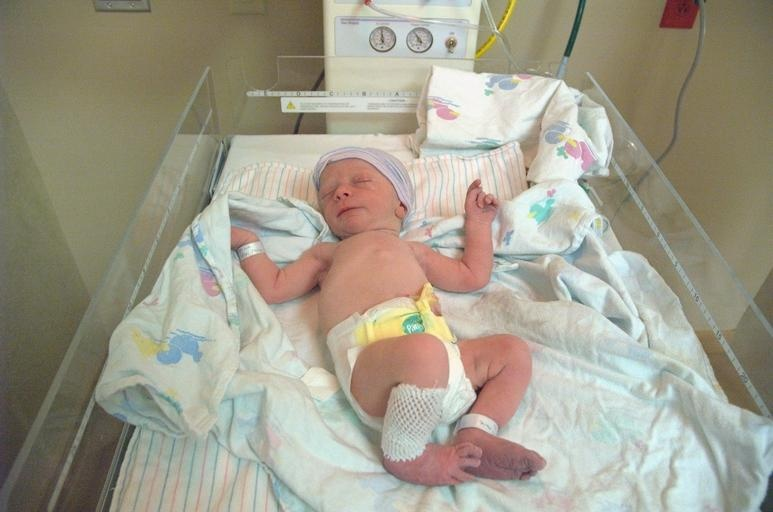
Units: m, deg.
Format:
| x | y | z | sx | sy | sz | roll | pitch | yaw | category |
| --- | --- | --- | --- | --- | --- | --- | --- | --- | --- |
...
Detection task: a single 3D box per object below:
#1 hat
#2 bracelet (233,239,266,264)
| x | y | z | sx | sy | sz | roll | pitch | yaw | category |
| --- | --- | --- | --- | --- | --- | --- | --- | --- | --- |
| -0.035 | -0.298 | 2.128 | 0.286 | 0.177 | 0.332 | 7 | 14 | 6 | hat |
| -0.469 | -0.021 | 1.933 | 0.139 | 0.139 | 0.058 | -10 | 81 | 10 | bracelet |
